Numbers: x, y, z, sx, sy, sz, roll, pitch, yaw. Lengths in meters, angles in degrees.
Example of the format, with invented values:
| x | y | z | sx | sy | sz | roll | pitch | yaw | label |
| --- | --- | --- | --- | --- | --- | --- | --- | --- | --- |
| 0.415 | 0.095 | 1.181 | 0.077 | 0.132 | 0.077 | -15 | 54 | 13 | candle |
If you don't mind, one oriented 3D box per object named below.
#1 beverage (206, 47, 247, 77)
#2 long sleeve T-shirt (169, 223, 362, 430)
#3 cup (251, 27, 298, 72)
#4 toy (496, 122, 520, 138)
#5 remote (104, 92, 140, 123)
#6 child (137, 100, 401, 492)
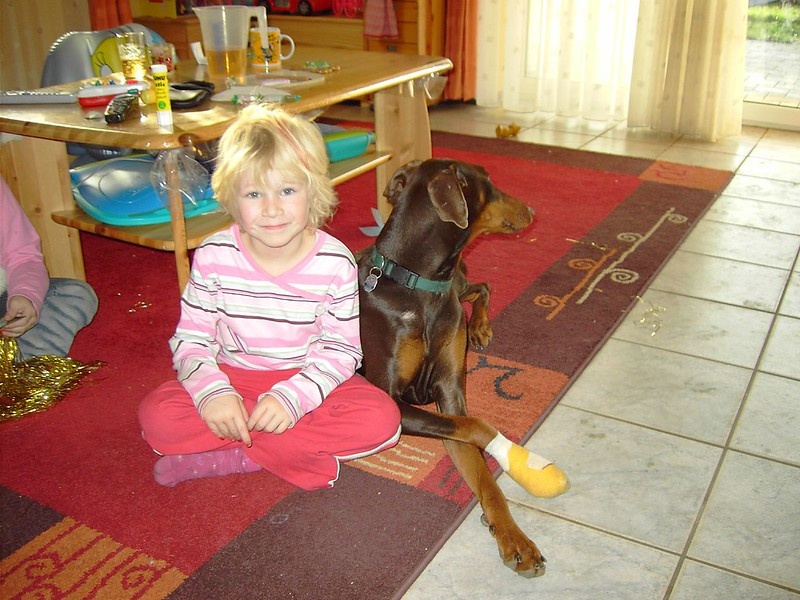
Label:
| x | y | z | sx | sy | sz | roll | pitch | yaw | label |
| --- | --- | --- | --- | --- | --- | --- | --- | --- | --- |
| -0.791 | -1.101 | 2.816 | 0.175 | 0.115 | 0.162 | 12 | 22 | 37 | beverage |
| -0.365 | 0.081 | 1.668 | 0.567 | 0.421 | 0.577 | -11 | 33 | -36 | long sleeve T-shirt |
| -0.662 | -1.301 | 3.070 | 0.264 | 0.164 | 0.143 | -7 | 35 | -19 | cup |
| 0.898 | -1.378 | 4.896 | 0.235 | 0.113 | 0.177 | -3 | 6 | 21 | toy |
| -1.022 | -0.711 | 2.218 | 0.113 | 0.069 | 0.188 | 0 | 27 | 7 | remote |
| -0.396 | 0.013 | 1.592 | 0.734 | 0.910 | 0.618 | -11 | 33 | -20 | child |
